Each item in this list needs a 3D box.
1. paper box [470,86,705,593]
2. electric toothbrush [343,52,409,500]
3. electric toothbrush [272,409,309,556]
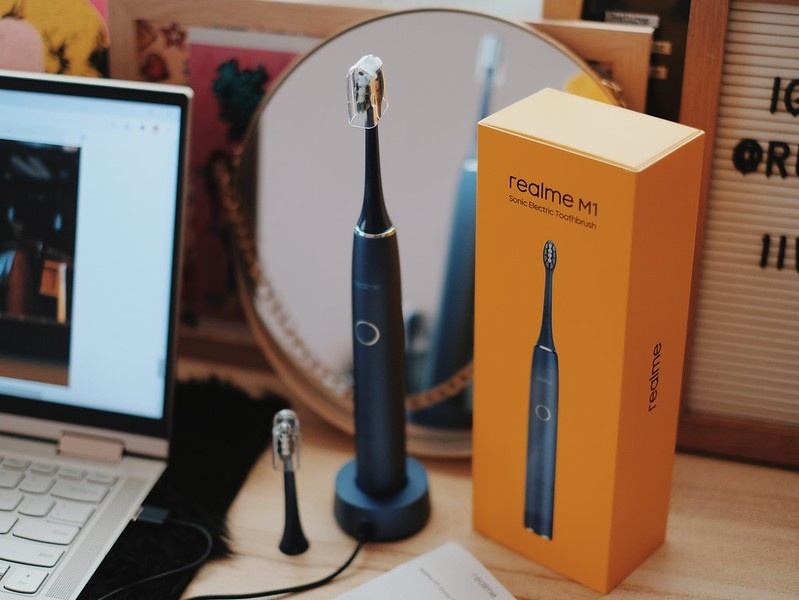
[{"bbox_3d":[0.157,0.038,0.756,0.172,0.430,0.111,11,17,32],"label":"paper box"},{"bbox_3d":[-0.019,-0.012,0.778,0.062,0.406,0.059,0,15,-7],"label":"electric toothbrush"},{"bbox_3d":[-0.101,0.172,0.789,0.033,0.135,0.028,0,15,-7],"label":"electric toothbrush"}]
